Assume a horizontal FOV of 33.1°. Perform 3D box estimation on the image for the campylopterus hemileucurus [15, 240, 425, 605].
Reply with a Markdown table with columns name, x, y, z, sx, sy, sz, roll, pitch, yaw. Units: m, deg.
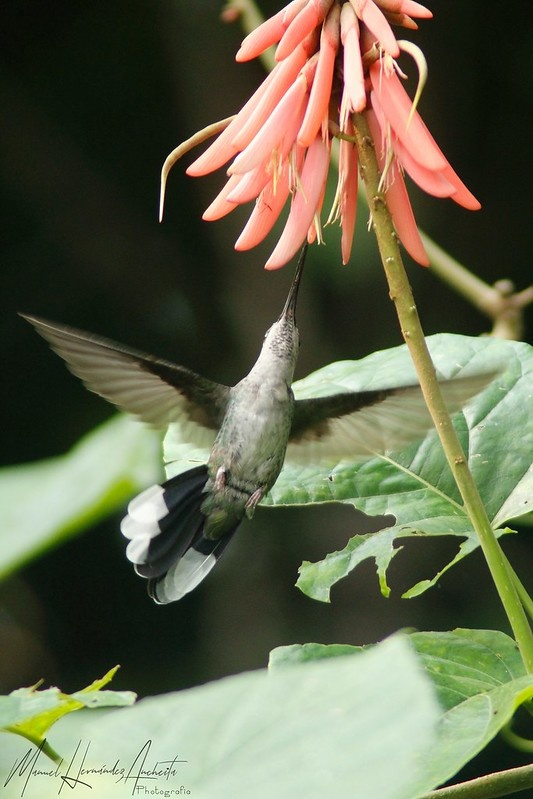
| name | x | y | z | sx | sy | sz | roll | pitch | yaw |
| --- | --- | --- | --- | --- | --- | --- | --- | --- | --- |
| campylopterus hemileucurus | -0.048 | 0.034 | 1.351 | 0.704 | 0.385 | 0.454 | 8 | -30 | -14 |
